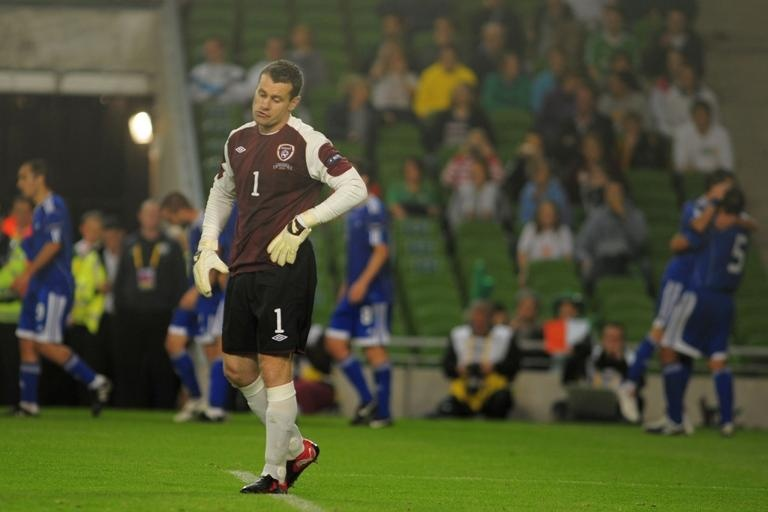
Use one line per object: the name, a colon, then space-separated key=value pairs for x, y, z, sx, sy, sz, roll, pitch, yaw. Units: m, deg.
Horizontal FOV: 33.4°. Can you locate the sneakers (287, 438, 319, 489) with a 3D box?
sneakers: x=-0.668 y=1.713 z=10.466 sx=0.130 sy=0.387 sz=0.163 roll=24 pitch=-15 yaw=45

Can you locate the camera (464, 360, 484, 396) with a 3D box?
camera: x=0.952 y=1.308 z=13.548 sx=0.184 sy=0.278 sz=0.080 roll=1 pitch=14 yaw=11

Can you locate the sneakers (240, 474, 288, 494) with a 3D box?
sneakers: x=-0.937 y=1.828 z=10.126 sx=0.341 sy=0.164 sz=0.151 roll=7 pitch=-6 yaw=-13

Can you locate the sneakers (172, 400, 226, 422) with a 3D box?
sneakers: x=-1.978 y=1.712 z=13.827 sx=0.621 sy=0.303 sz=0.236 roll=5 pitch=-6 yaw=1

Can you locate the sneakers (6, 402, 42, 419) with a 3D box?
sneakers: x=-3.658 y=1.595 z=13.038 sx=0.309 sy=0.139 sz=0.158 roll=6 pitch=-3 yaw=-2

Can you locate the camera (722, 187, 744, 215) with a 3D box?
camera: x=3.581 y=-0.570 z=13.156 sx=0.199 sy=0.289 sz=0.279 roll=3 pitch=3 yaw=14

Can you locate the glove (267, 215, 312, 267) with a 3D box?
glove: x=-0.710 y=-0.071 z=10.260 sx=0.337 sy=0.166 sz=0.587 roll=43 pitch=26 yaw=-16

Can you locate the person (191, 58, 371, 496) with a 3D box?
person: x=-0.884 y=0.158 z=10.396 sx=1.290 sy=3.494 sz=0.490 roll=3 pitch=-4 yaw=0

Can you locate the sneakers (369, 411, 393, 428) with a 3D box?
sneakers: x=-0.031 y=1.733 z=13.393 sx=0.113 sy=0.159 sz=0.240 roll=-7 pitch=-13 yaw=38
